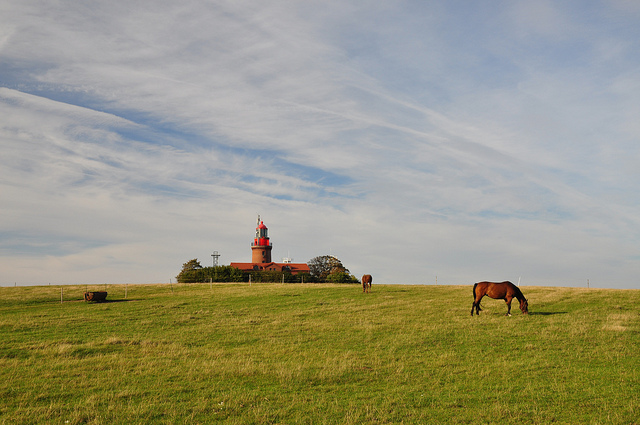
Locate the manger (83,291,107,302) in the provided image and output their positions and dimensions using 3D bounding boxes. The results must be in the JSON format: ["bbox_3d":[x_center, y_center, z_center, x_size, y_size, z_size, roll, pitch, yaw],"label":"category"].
[{"bbox_3d":[-26.253,9.789,66.647,1.356,0.838,2.049,-6,-10,36],"label":"manger"}]
